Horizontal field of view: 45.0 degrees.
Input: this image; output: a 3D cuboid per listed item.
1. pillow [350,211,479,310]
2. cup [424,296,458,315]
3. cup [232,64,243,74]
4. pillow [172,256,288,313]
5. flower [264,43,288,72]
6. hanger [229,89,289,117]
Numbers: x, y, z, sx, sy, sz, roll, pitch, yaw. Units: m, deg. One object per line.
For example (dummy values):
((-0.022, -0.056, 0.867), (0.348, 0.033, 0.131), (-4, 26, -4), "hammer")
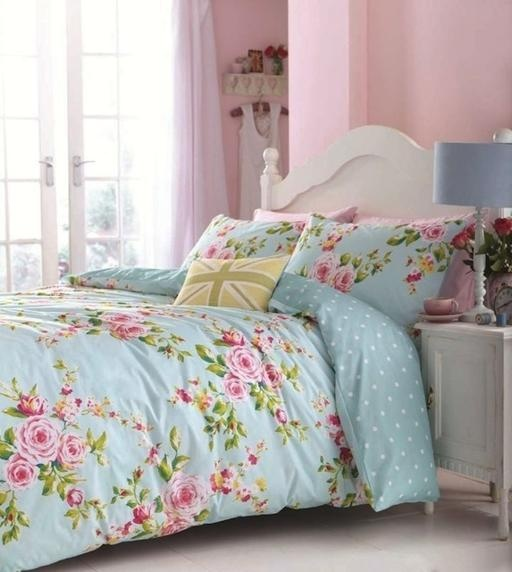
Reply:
((0.484, -0.066, 2.025), (0.386, 0.329, 0.112), (-1, -17, 36), "pillow")
((0.541, 0.057, 1.812), (0.073, 0.030, 0.055), (1, -2, 26), "cup")
((-0.135, -1.551, 4.420), (0.080, 0.050, 0.068), (-3, 12, -15), "cup")
((-0.020, -0.051, 2.184), (0.484, 0.174, 0.193), (4, 22, 40), "pillow")
((0.151, -1.664, 4.532), (0.174, 0.234, 0.080), (0, -2, -19), "flower")
((0.025, -1.280, 4.480), (0.441, 0.136, 0.074), (0, -2, -16), "hanger")
